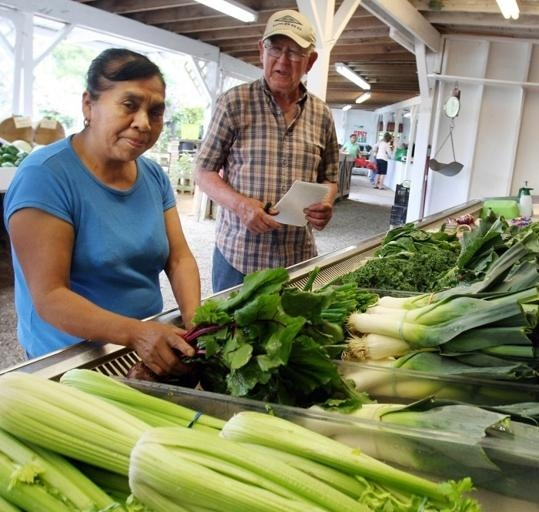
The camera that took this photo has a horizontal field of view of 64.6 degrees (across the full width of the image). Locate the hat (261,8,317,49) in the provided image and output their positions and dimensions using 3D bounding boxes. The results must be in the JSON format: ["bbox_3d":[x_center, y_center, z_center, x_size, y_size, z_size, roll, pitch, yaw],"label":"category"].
[{"bbox_3d":[0.109,-1.164,2.232,0.226,0.129,0.276,16,15,1],"label":"hat"}]

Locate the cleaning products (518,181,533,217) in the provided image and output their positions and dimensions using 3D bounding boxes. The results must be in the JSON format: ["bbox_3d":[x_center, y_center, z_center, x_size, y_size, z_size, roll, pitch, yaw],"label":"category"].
[{"bbox_3d":[2.505,-0.539,4.158,0.142,0.315,0.366,6,4,29],"label":"cleaning products"}]
